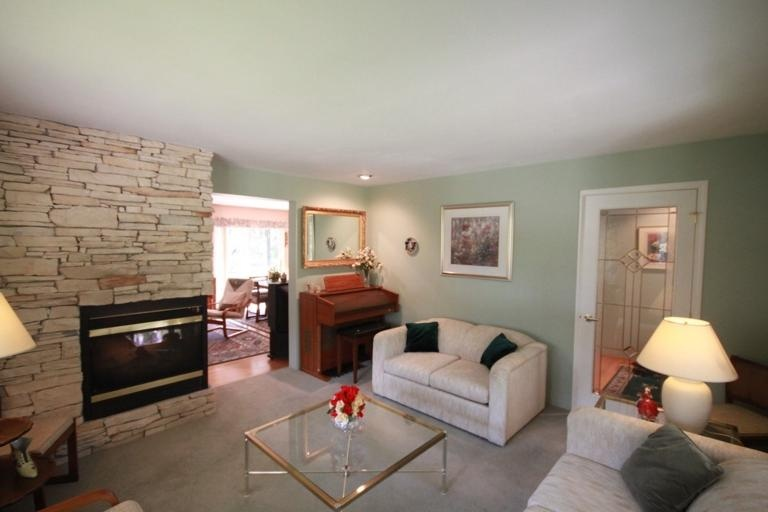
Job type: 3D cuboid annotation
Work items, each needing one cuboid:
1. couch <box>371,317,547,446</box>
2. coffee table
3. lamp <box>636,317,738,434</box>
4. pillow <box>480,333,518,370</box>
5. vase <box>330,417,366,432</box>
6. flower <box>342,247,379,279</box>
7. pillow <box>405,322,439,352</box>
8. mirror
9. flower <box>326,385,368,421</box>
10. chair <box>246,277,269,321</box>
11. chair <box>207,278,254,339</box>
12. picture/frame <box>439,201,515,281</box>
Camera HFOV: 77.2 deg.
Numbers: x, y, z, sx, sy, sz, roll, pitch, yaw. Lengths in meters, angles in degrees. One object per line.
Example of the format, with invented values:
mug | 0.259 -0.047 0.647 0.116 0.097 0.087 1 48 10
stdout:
couch | 0.856 1.299 5.627 1.779 0.839 1.116 7 11 39
coffee table | -0.339 1.642 4.225 1.210 0.418 1.244 3 5 42
lamp | 2.526 1.011 4.037 0.719 0.894 0.733 -1 0 -29
pillow | 1.298 1.088 5.278 0.133 0.348 0.355 31 -12 -13
vase | -0.316 1.504 4.294 0.200 0.085 0.214 -2 -10 14
flower | -0.291 0.103 7.144 0.492 0.494 0.470 -8 3 16
pillow | 0.461 0.998 5.877 0.386 0.332 0.113 -1 -21 7
mirror | -0.719 -0.247 6.765 1.143 0.876 0.071 5 6 35
flower | -0.330 1.355 4.358 0.387 0.341 0.362 -6 -9 14
chair | -2.465 0.923 9.669 0.420 0.504 0.324 22 -15 -37
chair | -2.755 0.876 8.267 0.952 0.856 0.960 -2 6 -21
picture/frame | 1.179 -0.186 5.970 1.082 0.979 0.073 1 0 38
